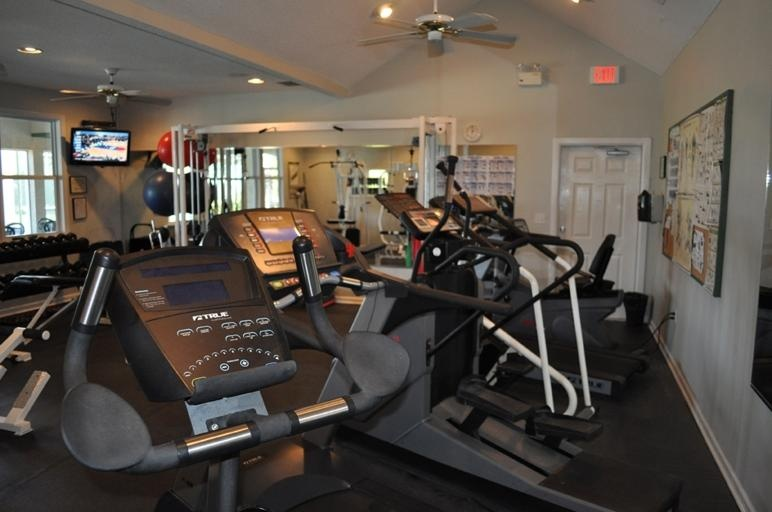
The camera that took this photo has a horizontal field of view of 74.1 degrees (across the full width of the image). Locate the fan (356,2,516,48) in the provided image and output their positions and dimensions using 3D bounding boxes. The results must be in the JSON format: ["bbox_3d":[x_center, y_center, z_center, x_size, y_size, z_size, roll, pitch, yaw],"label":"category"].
[{"bbox_3d":[0.547,-2.365,5.092,1.567,0.495,1.109,-4,11,-10],"label":"fan"}]

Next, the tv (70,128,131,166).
[{"bbox_3d":[-4.758,-1.849,8.525,1.125,0.591,0.530,-2,12,-26],"label":"tv"}]

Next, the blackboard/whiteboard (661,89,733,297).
[{"bbox_3d":[2.968,-0.647,4.931,0.123,1.676,2.211,1,12,19],"label":"blackboard/whiteboard"}]
